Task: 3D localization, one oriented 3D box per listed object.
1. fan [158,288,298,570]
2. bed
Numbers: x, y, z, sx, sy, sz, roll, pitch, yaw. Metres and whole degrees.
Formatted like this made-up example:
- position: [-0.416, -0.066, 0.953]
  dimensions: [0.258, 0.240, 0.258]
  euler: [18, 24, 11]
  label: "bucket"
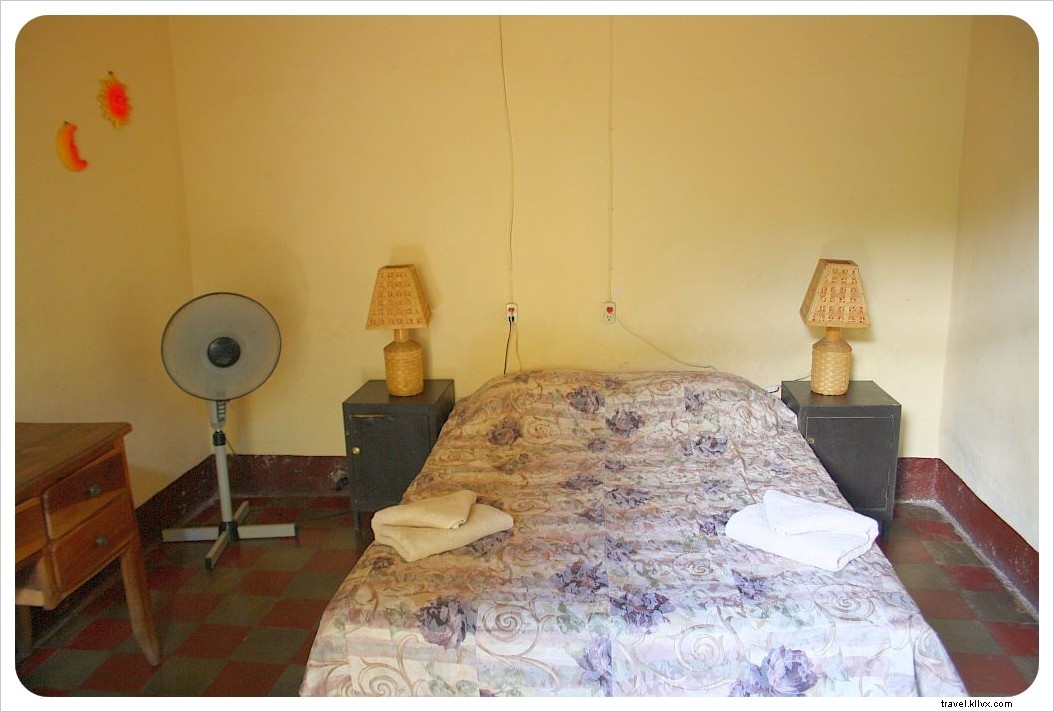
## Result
- position: [-1.554, 0.379, 3.993]
  dimensions: [0.671, 1.404, 0.667]
  euler: [1, 0, -23]
  label: "fan"
- position: [0.454, 0.791, 3.689]
  dimensions: [2.318, 0.757, 2.582]
  euler: [-3, 16, 3]
  label: "bed"
